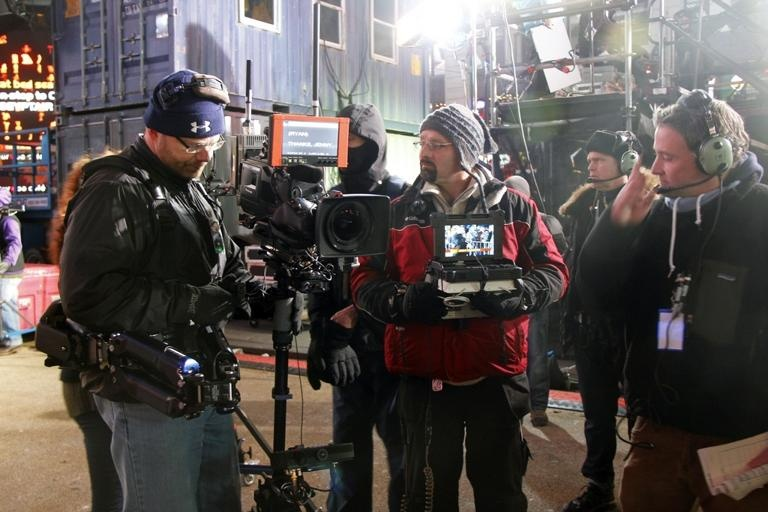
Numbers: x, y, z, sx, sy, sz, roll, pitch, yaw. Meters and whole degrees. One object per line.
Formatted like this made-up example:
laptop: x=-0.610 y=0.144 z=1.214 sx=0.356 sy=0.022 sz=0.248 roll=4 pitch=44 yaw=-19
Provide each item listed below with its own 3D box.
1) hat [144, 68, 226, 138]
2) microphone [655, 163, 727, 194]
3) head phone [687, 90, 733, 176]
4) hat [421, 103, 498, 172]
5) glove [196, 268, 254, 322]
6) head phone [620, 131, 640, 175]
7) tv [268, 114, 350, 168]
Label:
hat: x=-1.191 y=-0.995 z=3.896 sx=0.609 sy=0.468 sz=0.341 roll=-7 pitch=27 yaw=-14
microphone: x=1.714 y=-0.410 z=3.638 sx=0.222 sy=0.073 sz=0.175 roll=-25 pitch=-1 yaw=27
head phone: x=1.778 y=-0.659 z=3.587 sx=0.173 sy=0.404 sz=0.420 roll=-17 pitch=5 yaw=11
hat: x=0.454 y=-0.731 z=4.105 sx=0.414 sy=0.419 sz=0.436 roll=7 pitch=2 yaw=32
glove: x=-0.932 y=0.223 z=3.749 sx=0.273 sy=0.111 sz=0.277 roll=-23 pitch=-33 yaw=30
head phone: x=2.081 y=-0.910 z=5.541 sx=0.135 sy=0.309 sz=0.326 roll=-3 pitch=13 yaw=15
tv: x=-0.464 y=-0.702 z=3.993 sx=0.508 sy=0.304 sz=0.076 roll=-5 pitch=15 yaw=-33
